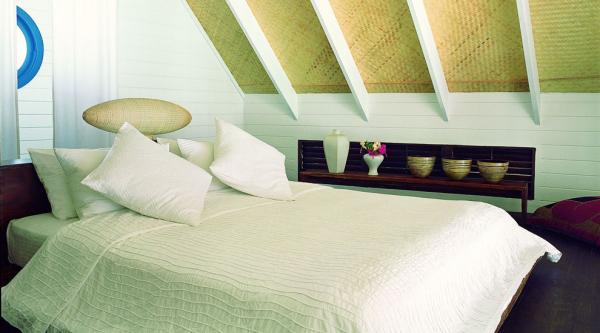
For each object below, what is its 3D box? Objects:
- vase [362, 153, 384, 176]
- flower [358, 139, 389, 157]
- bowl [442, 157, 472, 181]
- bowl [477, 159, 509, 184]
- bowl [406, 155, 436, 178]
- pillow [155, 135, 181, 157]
[{"bbox_3d":[1.095,-0.040,5.120,0.355,0.327,0.358,1,1,40],"label":"vase"},{"bbox_3d":[1.071,-0.268,5.179,0.343,0.157,0.301,14,-10,-21],"label":"flower"},{"bbox_3d":[2.100,0.024,4.705,0.355,0.230,0.354,0,1,0],"label":"bowl"},{"bbox_3d":[2.550,0.067,4.572,0.358,0.210,0.358,-1,1,0],"label":"bowl"},{"bbox_3d":[1.678,-0.004,4.849,0.365,0.230,0.362,-1,0,0],"label":"bowl"},{"bbox_3d":[-1.329,-0.215,3.550,0.074,0.215,0.271,-28,-19,29],"label":"pillow"}]
